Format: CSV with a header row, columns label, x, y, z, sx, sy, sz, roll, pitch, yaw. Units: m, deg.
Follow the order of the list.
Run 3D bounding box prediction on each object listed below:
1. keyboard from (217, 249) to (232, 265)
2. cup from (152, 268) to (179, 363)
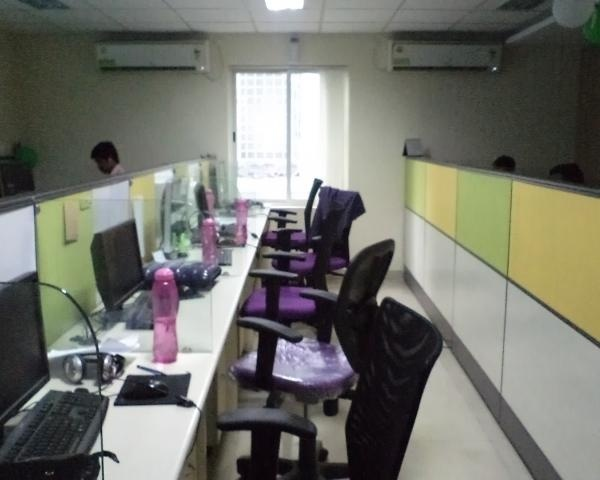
label,x,y,z,sx,sy,sz,roll,pitch,yaw
keyboard,-0.459,0.105,3.019,0.083,0.095,0.162,-2,3,-5
cup,-0.504,0.282,1.819,0.091,0.346,0.093,1,-1,0
